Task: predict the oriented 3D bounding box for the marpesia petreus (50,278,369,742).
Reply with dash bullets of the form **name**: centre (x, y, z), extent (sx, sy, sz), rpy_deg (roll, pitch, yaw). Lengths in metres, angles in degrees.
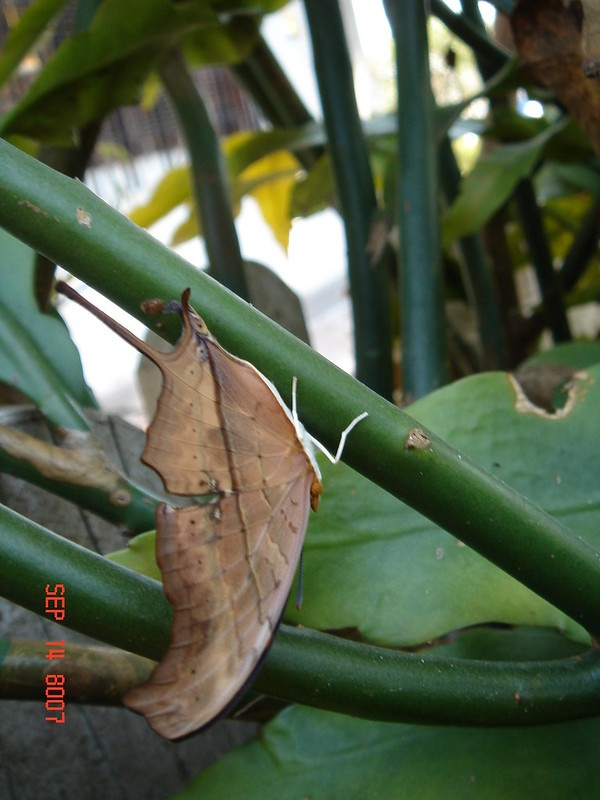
- **marpesia petreus**: centre (-0.037, 0.041, 0.341), extent (0.101, 0.172, 0.088), rpy_deg (2, 13, 13)
